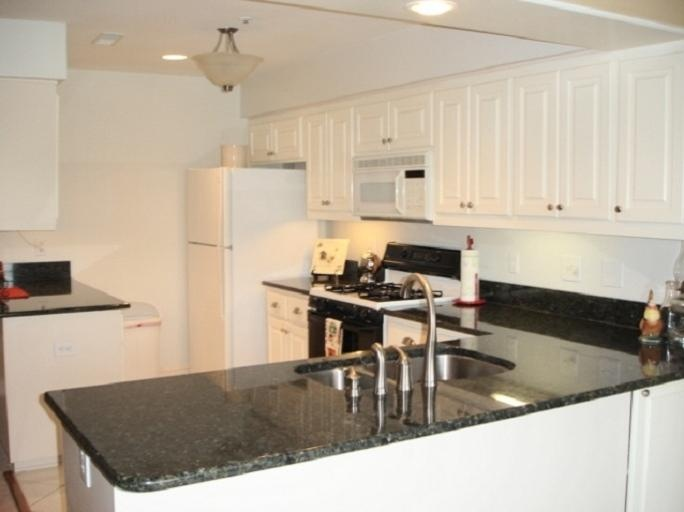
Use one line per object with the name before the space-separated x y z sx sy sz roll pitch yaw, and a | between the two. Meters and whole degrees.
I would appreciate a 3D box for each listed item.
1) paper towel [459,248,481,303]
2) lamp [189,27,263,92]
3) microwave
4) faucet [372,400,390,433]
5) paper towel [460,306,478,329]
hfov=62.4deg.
paper towel | 0.831 0.130 3.656 0.121 0.339 0.128 3 9 10
lamp | -0.761 -1.304 3.776 0.483 0.337 0.432 0 6 -4
microwave | 0.369 -0.494 3.895 0.344 0.360 0.630 -2 4 -34
faucet | 0.121 0.511 1.810 0.045 0.034 0.124 0 19 5
paper towel | 0.747 0.357 3.298 0.108 0.011 0.585 2 7 13
